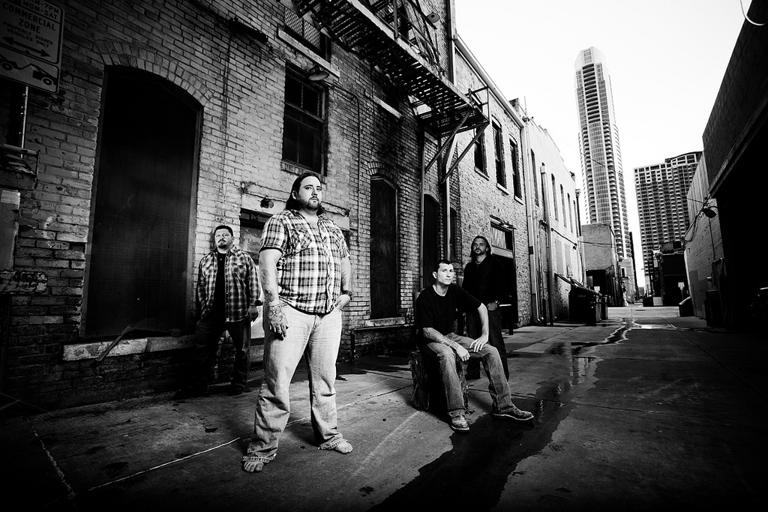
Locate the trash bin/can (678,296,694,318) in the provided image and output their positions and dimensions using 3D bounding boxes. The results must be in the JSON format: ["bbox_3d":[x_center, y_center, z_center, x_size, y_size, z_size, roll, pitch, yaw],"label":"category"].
[{"bbox_3d":[12.111,1.971,20.378,0.432,0.719,0.779,-5,-5,29],"label":"trash bin/can"}]

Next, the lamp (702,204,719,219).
[{"bbox_3d":[8.634,-1.205,13.416,0.272,0.144,0.363,2,-11,-1],"label":"lamp"}]

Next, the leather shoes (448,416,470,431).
[{"bbox_3d":[0.982,2.127,6.567,0.276,0.196,0.287,-2,-5,-4],"label":"leather shoes"}]

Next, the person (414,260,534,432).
[{"bbox_3d":[1.070,1.137,6.946,1.116,2.207,0.777,-1,-5,-18],"label":"person"}]
